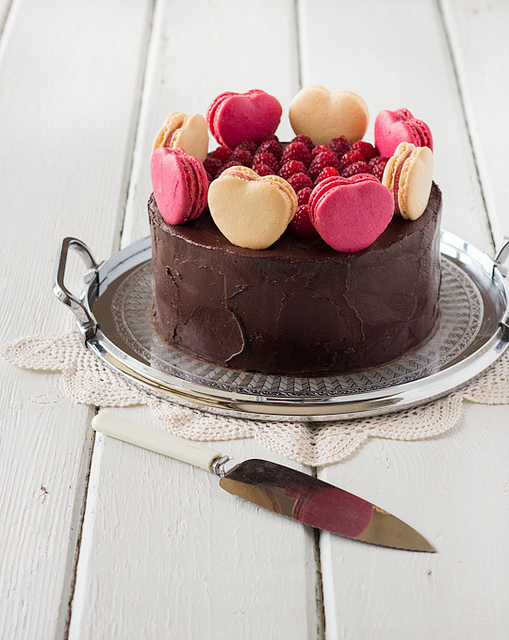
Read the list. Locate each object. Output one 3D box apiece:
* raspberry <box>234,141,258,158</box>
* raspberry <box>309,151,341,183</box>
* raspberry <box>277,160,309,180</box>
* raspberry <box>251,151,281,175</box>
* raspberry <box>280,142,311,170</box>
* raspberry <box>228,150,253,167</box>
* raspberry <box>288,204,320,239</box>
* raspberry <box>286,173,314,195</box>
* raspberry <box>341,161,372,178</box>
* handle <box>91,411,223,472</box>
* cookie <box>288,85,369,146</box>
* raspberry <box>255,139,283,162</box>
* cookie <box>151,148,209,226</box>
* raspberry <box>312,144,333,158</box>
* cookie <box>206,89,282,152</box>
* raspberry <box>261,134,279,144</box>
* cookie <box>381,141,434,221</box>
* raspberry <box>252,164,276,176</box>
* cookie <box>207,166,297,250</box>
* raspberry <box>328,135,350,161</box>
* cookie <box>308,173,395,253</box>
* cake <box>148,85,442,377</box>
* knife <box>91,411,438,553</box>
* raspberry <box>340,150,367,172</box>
[{"bbox_3d":[-0.015,-0.366,1.397,0.046,0.050,0.026,8,113,2],"label":"raspberry"},{"bbox_3d":[0.129,-0.298,1.252,0.042,0.066,0.048,33,52,-29],"label":"raspberry"},{"bbox_3d":[0.072,-0.281,1.245,0.046,0.050,0.026,0,98,3],"label":"raspberry"},{"bbox_3d":[0.022,-0.308,1.285,0.049,0.053,0.029,4,105,-19],"label":"raspberry"},{"bbox_3d":[0.074,-0.336,1.352,0.061,0.051,0.058,13,29,24],"label":"raspberry"},{"bbox_3d":[-0.024,-0.322,1.308,0.038,0.046,0.023,16,95,-1],"label":"raspberry"},{"bbox_3d":[0.095,-0.167,1.135,0.059,0.056,0.058,-1,101,5],"label":"raspberry"},{"bbox_3d":[0.082,-0.252,1.198,0.043,0.047,0.024,7,114,6],"label":"raspberry"},{"bbox_3d":[0.190,-0.281,1.228,0.037,0.047,0.016,-8,106,21],"label":"raspberry"},{"bbox_3d":[-0.157,0.201,1.066,0.216,0.038,0.034,15,109,12],"label":"handle"},{"bbox_3d":[0.152,-0.452,1.487,0.184,0.041,0.153,26,78,-1],"label":"cookie"},{"bbox_3d":[0.038,-0.346,1.341,0.048,0.052,0.028,4,107,-1],"label":"raspberry"},{"bbox_3d":[-0.137,-0.237,1.192,0.063,0.166,0.152,-14,91,-26],"label":"cookie"},{"bbox_3d":[0.129,-0.333,1.309,0.035,0.038,0.019,-8,101,10],"label":"raspberry"},{"bbox_3d":[-0.027,-0.484,1.541,0.187,0.137,0.216,-17,32,-30],"label":"cookie"},{"bbox_3d":[0.029,-0.390,1.437,0.037,0.041,0.022,-5,106,-28],"label":"raspberry"},{"bbox_3d":[0.284,-0.255,1.194,0.059,0.135,0.126,3,105,25],"label":"cookie"},{"bbox_3d":[0.015,-0.277,1.216,0.042,0.031,0.020,12,112,-21],"label":"raspberry"},{"bbox_3d":[-0.004,-0.183,1.107,0.155,0.053,0.118,15,106,21],"label":"cookie"},{"bbox_3d":[0.178,-0.366,1.383,0.055,0.023,0.061,1,45,0],"label":"raspberry"},{"bbox_3d":[0.158,-0.173,1.094,0.161,0.051,0.123,-6,103,-21],"label":"cookie"},{"bbox_3d":[0.084,-0.221,1.320,0.602,0.344,0.525,5,41,9],"label":"cake"},{"bbox_3d":[-0.008,0.240,1.007,0.552,0.048,0.076,17,47,24],"label":"knife"},{"bbox_3d":[0.189,-0.310,1.312,0.053,0.040,0.039,-10,69,21],"label":"raspberry"}]
